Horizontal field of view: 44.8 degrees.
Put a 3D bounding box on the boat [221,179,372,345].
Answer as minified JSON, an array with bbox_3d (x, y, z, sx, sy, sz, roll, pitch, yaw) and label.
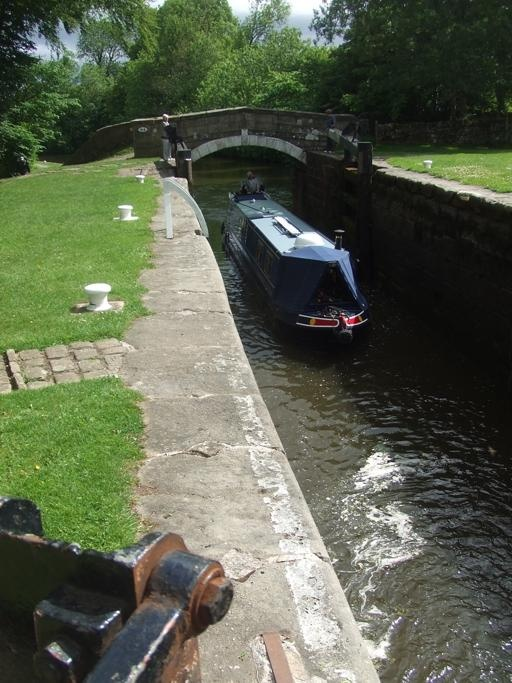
[{"bbox_3d":[0.628,-1.916,13.432,1.704,1.807,6.201,-9,28,-9],"label":"boat"}]
